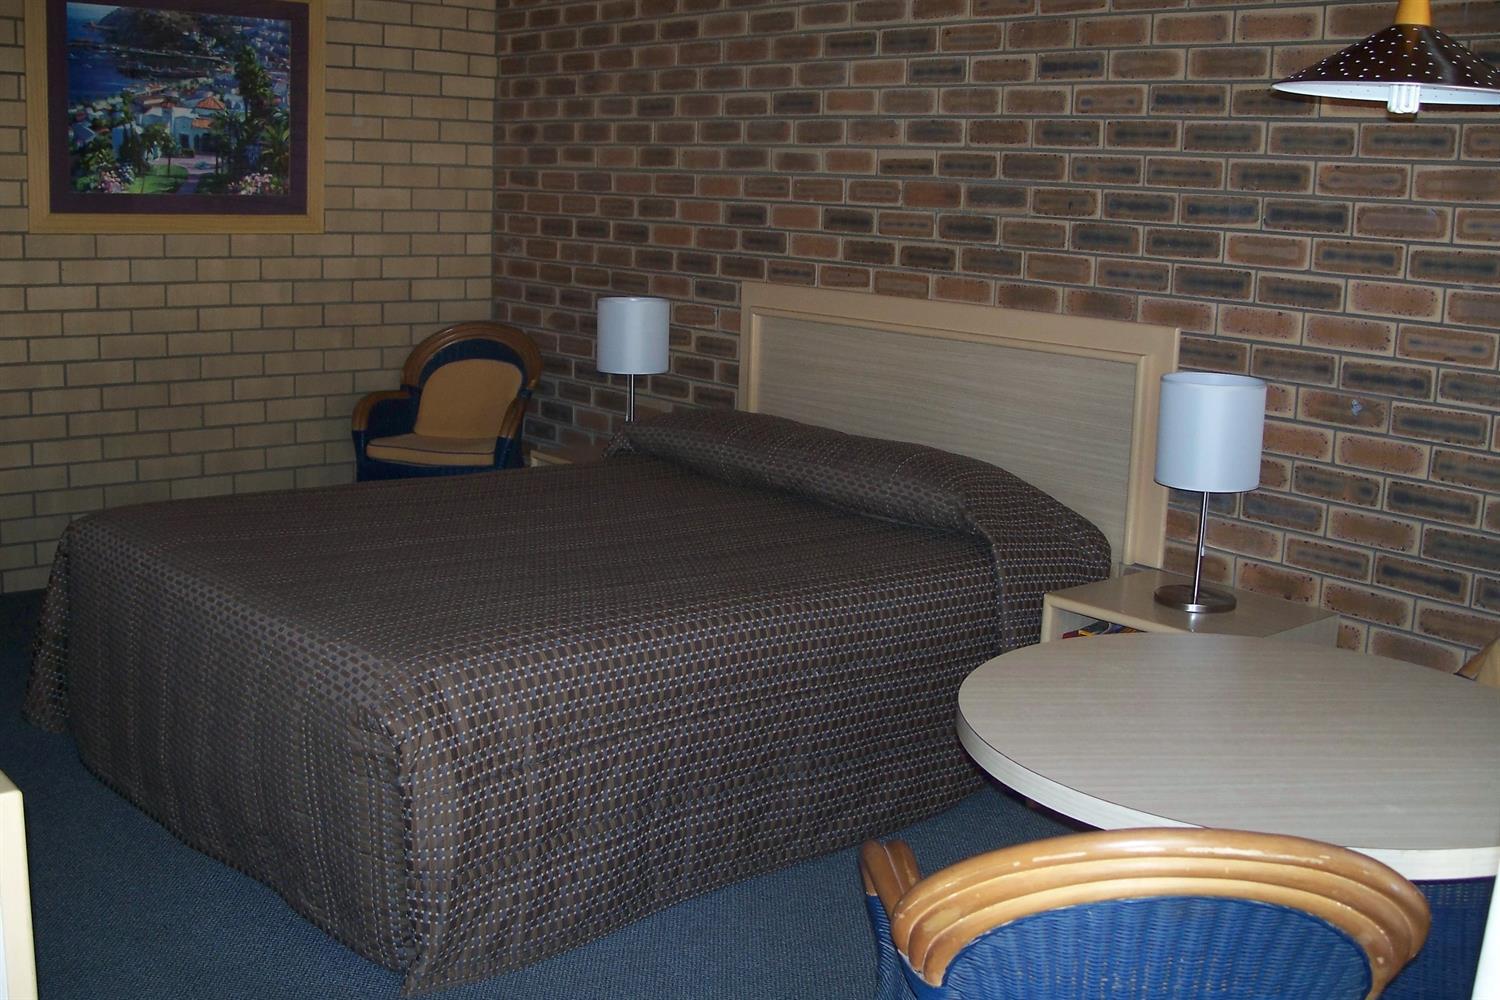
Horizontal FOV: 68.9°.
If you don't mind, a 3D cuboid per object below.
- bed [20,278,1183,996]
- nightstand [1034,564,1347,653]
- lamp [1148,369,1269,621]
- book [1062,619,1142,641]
[{"bbox_3d":[-0.598,0.420,3.692,2.329,1.251,2.014,-7,14,-43],"label":"bed"},{"bbox_3d":[1.385,0.347,3.438,0.453,0.203,0.433,-6,14,-39],"label":"nightstand"},{"bbox_3d":[1.407,-0.030,3.425,0.315,0.732,0.450,9,14,22],"label":"lamp"},{"bbox_3d":[1.054,0.390,3.279,0.150,0.025,0.124,-1,1,-28],"label":"book"}]
